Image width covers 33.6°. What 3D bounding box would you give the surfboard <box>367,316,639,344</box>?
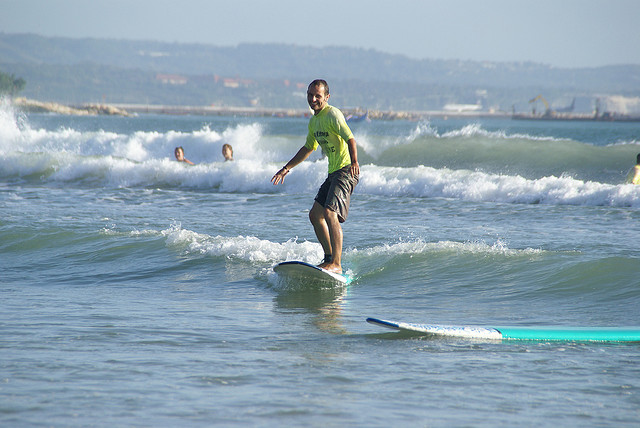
[{"bbox_3d":[3.212,1.891,17.314,4.037,0.261,0.541,3,12,3],"label":"surfboard"}]

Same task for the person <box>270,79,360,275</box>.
[{"bbox_3d":[0.107,-0.650,18.875,0.700,3.505,1.096,-8,17,-38],"label":"person"}]

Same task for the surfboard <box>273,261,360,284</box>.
[{"bbox_3d":[-0.060,1.091,18.974,1.029,0.129,0.520,15,-13,-37],"label":"surfboard"}]
